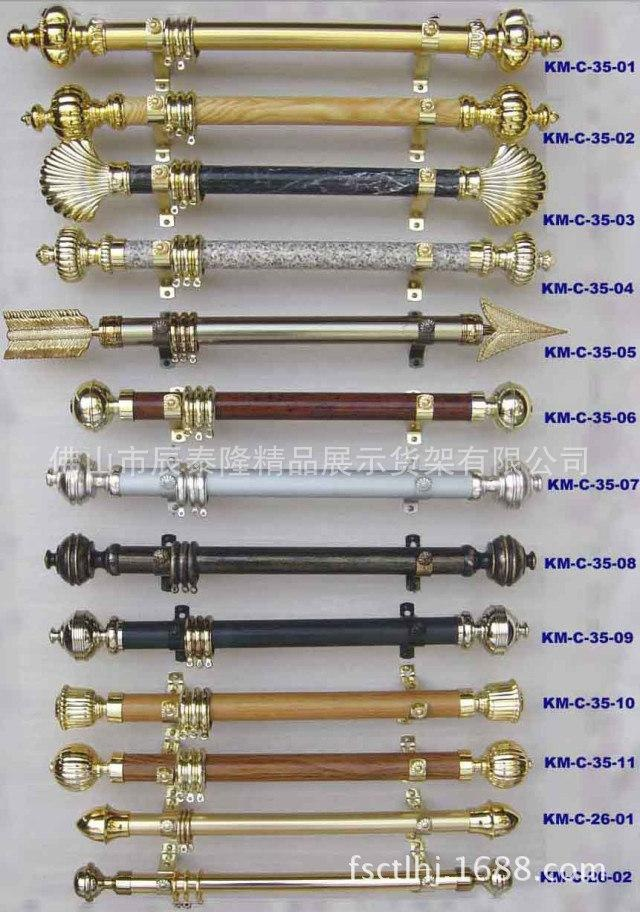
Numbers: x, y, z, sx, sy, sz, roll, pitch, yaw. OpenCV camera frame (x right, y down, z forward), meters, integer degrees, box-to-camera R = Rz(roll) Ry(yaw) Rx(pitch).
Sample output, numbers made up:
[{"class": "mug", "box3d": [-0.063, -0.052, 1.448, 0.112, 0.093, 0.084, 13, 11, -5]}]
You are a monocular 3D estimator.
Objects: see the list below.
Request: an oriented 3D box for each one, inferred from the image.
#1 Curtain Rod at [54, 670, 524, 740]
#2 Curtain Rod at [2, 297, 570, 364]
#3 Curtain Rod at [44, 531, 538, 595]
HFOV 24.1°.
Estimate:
[{"class": "Curtain Rod", "box3d": [-0.120, 0.573, 3.471, 0.715, 0.117, 0.145, 0, -73, -1]}, {"class": "Curtain Rod", "box3d": [-0.143, -0.295, 3.482, 0.880, 0.132, 0.185, 0, -94, -4]}, {"class": "Curtain Rod", "box3d": [-0.056, 0.233, 3.462, 1.149, 0.168, 0.202, 1, -68, -10]}]
